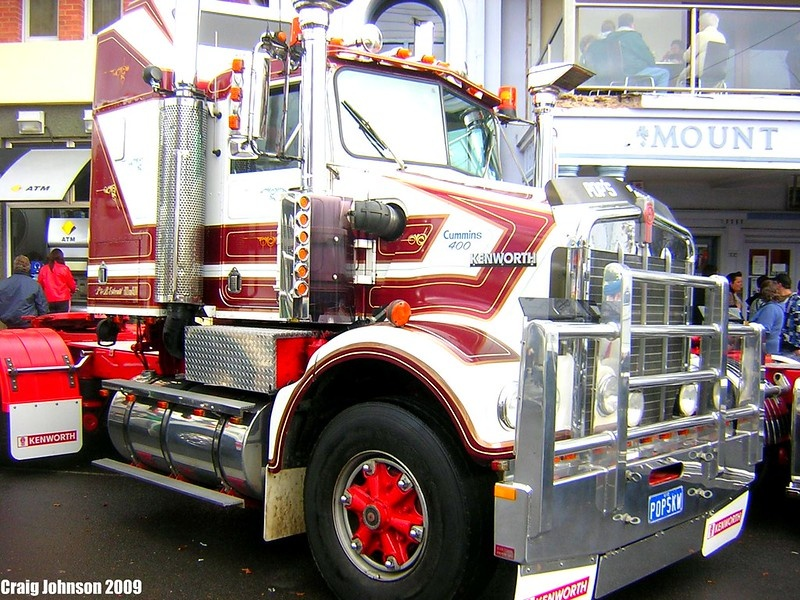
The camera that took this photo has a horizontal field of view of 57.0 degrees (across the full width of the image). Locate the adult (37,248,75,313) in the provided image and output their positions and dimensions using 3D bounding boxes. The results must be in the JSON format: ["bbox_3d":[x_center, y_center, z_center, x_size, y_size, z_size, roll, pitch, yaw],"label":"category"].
[{"bbox_3d":[-6.019,-0.159,12.901,0.581,1.615,0.497,-1,30,-22],"label":"adult"}]
